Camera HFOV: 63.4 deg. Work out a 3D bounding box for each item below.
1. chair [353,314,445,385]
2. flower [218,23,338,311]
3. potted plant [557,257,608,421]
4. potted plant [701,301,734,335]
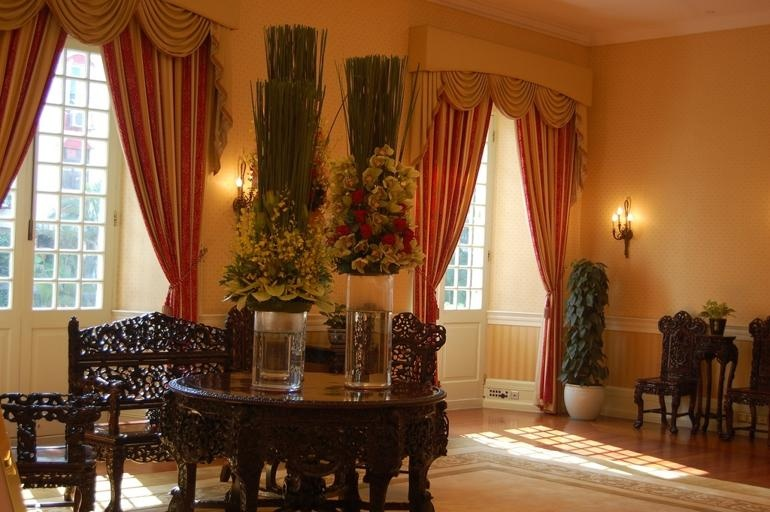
[{"bbox_3d":[0.111,0.650,4.593,0.544,0.671,0.478,1,-14,-1],"label":"chair"},{"bbox_3d":[-0.564,-0.511,3.438,0.597,1.392,0.337,2,0,-15],"label":"flower"},{"bbox_3d":[2.761,1.136,8.616,0.599,2.244,0.354,2,0,16],"label":"potted plant"},{"bbox_3d":[4.275,0.818,8.161,0.430,0.454,0.442,2,-10,-5],"label":"potted plant"}]
